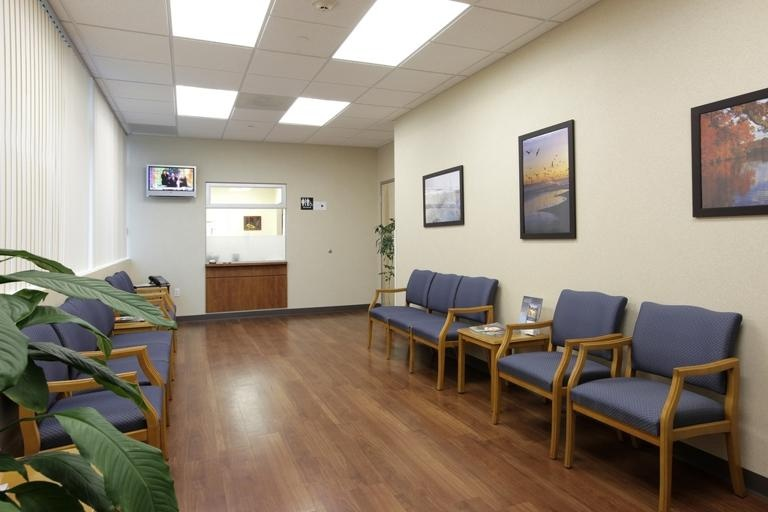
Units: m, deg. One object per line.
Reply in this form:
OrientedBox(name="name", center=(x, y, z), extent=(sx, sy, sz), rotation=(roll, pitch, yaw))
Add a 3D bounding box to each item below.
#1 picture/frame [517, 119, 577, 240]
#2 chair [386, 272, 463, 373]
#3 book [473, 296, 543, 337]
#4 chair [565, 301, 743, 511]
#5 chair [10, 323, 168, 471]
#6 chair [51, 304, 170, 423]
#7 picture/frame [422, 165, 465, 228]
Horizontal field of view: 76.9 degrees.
OrientedBox(name="picture/frame", center=(1.689, -0.750, 4.934), extent=(0.150, 1.157, 0.723), rotation=(-4, 9, -27))
OrientedBox(name="chair", center=(0.470, 0.841, 6.197), extent=(0.700, 1.203, 1.623), rotation=(0, 7, -26))
OrientedBox(name="book", center=(1.346, 0.596, 5.009), extent=(0.460, 0.305, 0.463), rotation=(2, -5, -17))
OrientedBox(name="chair", center=(2.077, 1.050, 3.700), extent=(0.913, 1.289, 1.121), rotation=(-6, 10, -38))
OrientedBox(name="chair", center=(-1.705, 0.823, 2.782), extent=(0.578, 0.651, 1.286), rotation=(1, 1, -16))
OrientedBox(name="chair", center=(-2.540, 0.928, 4.743), extent=(0.839, 1.220, 1.479), rotation=(0, 11, -17))
OrientedBox(name="picture/frame", center=(0.778, -0.763, 6.522), extent=(0.733, 0.728, 0.034), rotation=(-11, 14, -39))
